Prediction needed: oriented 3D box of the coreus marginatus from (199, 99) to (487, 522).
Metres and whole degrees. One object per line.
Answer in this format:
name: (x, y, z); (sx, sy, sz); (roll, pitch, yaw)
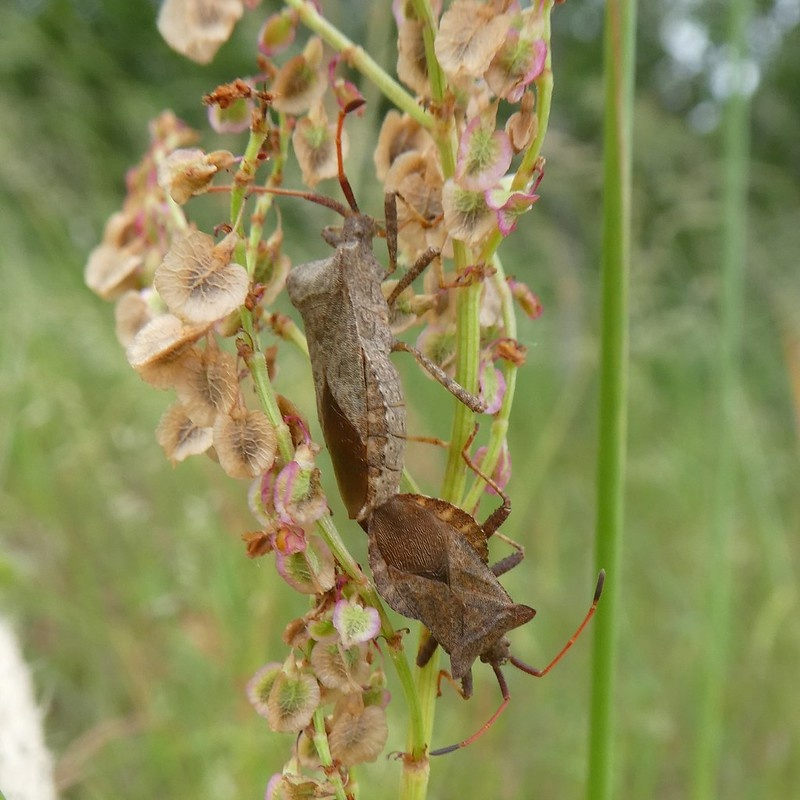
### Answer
coreus marginatus: (-0.058, -0.063, 1.232); (0.092, 0.255, 0.406); (-12, 79, -2)
